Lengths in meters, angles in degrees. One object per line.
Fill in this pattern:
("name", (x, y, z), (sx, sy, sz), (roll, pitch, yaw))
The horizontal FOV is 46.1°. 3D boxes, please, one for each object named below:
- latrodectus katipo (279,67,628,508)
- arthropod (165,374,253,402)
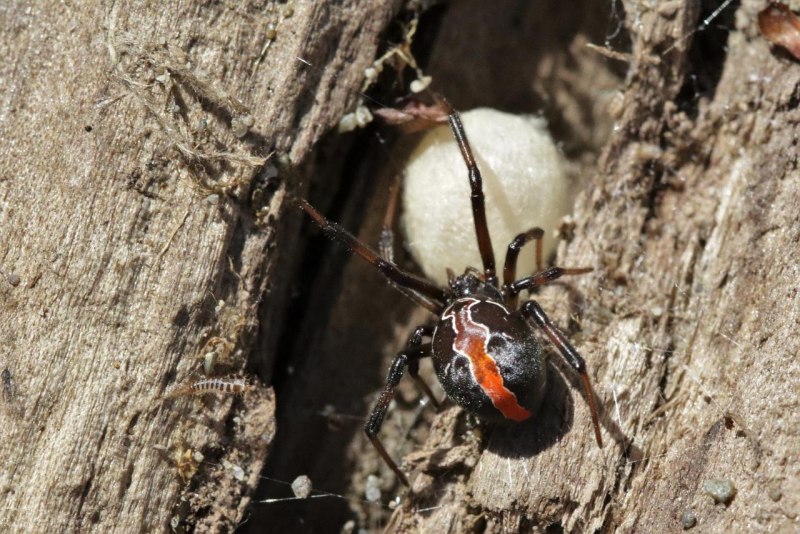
("latrodectus katipo", (0.322, 0.194, 4.073), (1.005, 0.496, 1.613), (-17, 65, 4))
("arthropod", (-0.722, 0.458, 3.538), (0.282, 0.203, 0.074), (-14, 66, 3))
